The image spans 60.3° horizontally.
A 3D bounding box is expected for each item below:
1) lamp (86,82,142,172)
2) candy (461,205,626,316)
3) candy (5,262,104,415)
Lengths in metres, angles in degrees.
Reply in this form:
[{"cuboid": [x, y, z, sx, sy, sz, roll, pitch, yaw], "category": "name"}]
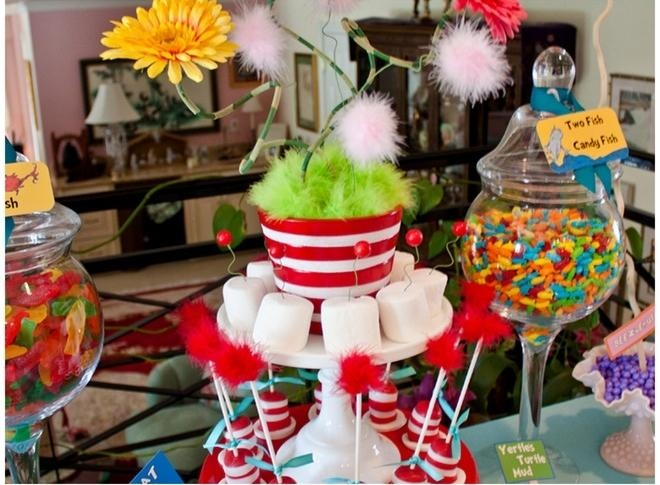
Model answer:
[{"cuboid": [-2.045, -1.074, 5.289, 0.451, 0.914, 0.489, 13, 26, 27], "category": "lamp"}, {"cuboid": [0.366, 0.008, 0.961, 0.195, 0.141, 0.207, 3, 6, 21], "category": "candy"}, {"cuboid": [-0.408, 0.139, 0.829, 0.153, 0.200, 0.080, -15, 17, -38], "category": "candy"}]
